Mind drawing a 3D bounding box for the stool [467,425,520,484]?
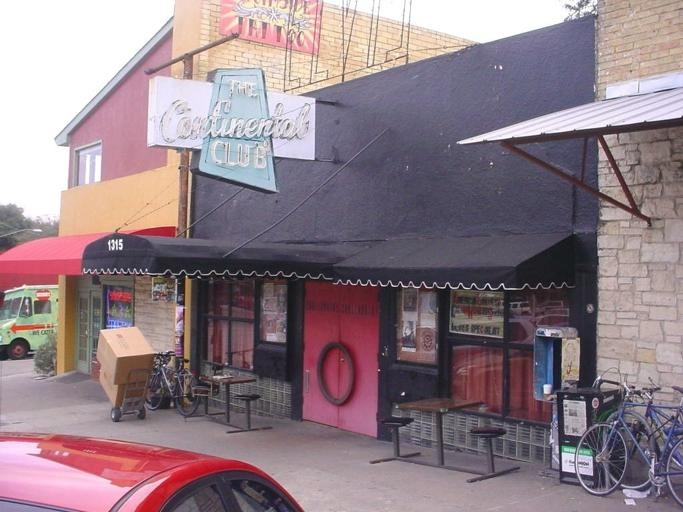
[{"bbox_3d":[2.153,2.806,10.505,0.618,0.760,0.605,-9,0,43],"label":"stool"}]

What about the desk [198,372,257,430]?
[{"bbox_3d":[-2.168,2.833,14.425,1.137,1.195,1.202,0,2,-38],"label":"desk"}]

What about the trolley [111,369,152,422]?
[{"bbox_3d":[-4.209,2.743,14.728,0.716,1.056,0.691,1,0,-1],"label":"trolley"}]

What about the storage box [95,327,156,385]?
[{"bbox_3d":[-4.456,1.962,14.678,1.085,1.172,1.114,3,-4,-42],"label":"storage box"}]

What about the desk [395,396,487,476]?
[{"bbox_3d":[1.494,2.779,11.314,1.076,1.026,1.053,0,-6,-35],"label":"desk"}]

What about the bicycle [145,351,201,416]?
[{"bbox_3d":[-3.673,2.818,15.665,1.020,1.398,1.066,1,1,-43],"label":"bicycle"}]

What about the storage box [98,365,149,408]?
[{"bbox_3d":[-4.402,2.614,14.658,0.801,0.858,0.773,3,0,44],"label":"storage box"}]

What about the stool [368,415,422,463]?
[{"bbox_3d":[0.793,2.846,11.475,0.744,0.704,0.782,-8,-9,41],"label":"stool"}]

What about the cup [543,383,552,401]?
[{"bbox_3d":[2.934,1.930,10.330,0.131,0.200,0.152,-1,0,16],"label":"cup"}]
